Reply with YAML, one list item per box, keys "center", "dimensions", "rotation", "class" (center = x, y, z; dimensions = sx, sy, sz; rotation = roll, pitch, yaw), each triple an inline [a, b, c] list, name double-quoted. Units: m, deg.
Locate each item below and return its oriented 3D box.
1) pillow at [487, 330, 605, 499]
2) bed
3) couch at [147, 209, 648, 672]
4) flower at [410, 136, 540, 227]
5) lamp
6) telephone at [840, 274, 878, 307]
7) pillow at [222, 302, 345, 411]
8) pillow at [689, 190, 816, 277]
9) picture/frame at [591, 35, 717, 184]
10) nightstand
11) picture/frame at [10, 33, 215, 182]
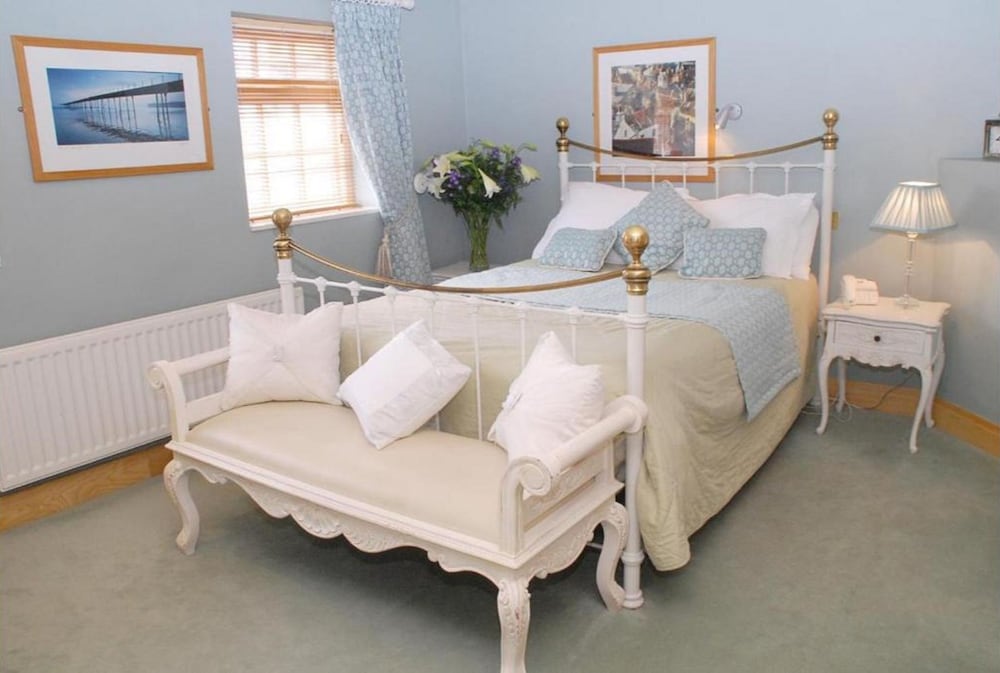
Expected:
- center: [0.179, 0.268, 2.692]
  dimensions: [0.141, 0.438, 0.397]
  rotation: [23, 11, -30]
  class: "pillow"
- center: [0.679, -0.223, 4.337]
  dimensions: [2.475, 2.247, 3.255]
  rotation: [9, 18, 34]
  class: "bed"
- center: [-0.529, 0.520, 3.129]
  dimensions: [1.900, 1.570, 0.799]
  rotation: [5, 10, 30]
  class: "couch"
- center: [-0.170, -1.153, 5.110]
  dimensions: [0.729, 0.544, 0.736]
  rotation: [-1, 11, -3]
  class: "flower"
- center: [2.457, -0.555, 4.100]
  dimensions: [0.374, 0.709, 0.451]
  rotation: [14, 23, 40]
  class: "lamp"
- center: [2.190, -0.287, 4.203]
  dimensions: [0.190, 0.162, 0.198]
  rotation: [1, 8, 24]
  class: "telephone"
- center: [-1.030, 0.088, 3.195]
  dimensions: [0.525, 0.524, 0.181]
  rotation: [0, -11, 5]
  class: "pillow"
- center: [1.697, -0.691, 4.288]
  dimensions: [0.580, 0.622, 0.181]
  rotation: [-5, -4, 13]
  class: "pillow"
- center: [1.133, -1.643, 4.898]
  dimensions: [1.061, 1.120, 0.047]
  rotation: [8, 17, 32]
  class: "picture/frame"
- center: [2.341, 0.211, 4.244]
  dimensions: [0.611, 0.819, 0.548]
  rotation: [10, 20, 38]
  class: "nightstand"
- center: [-2.173, -1.265, 3.788]
  dimensions: [0.022, 0.669, 0.915]
  rotation: [8, 13, 43]
  class: "picture/frame"
